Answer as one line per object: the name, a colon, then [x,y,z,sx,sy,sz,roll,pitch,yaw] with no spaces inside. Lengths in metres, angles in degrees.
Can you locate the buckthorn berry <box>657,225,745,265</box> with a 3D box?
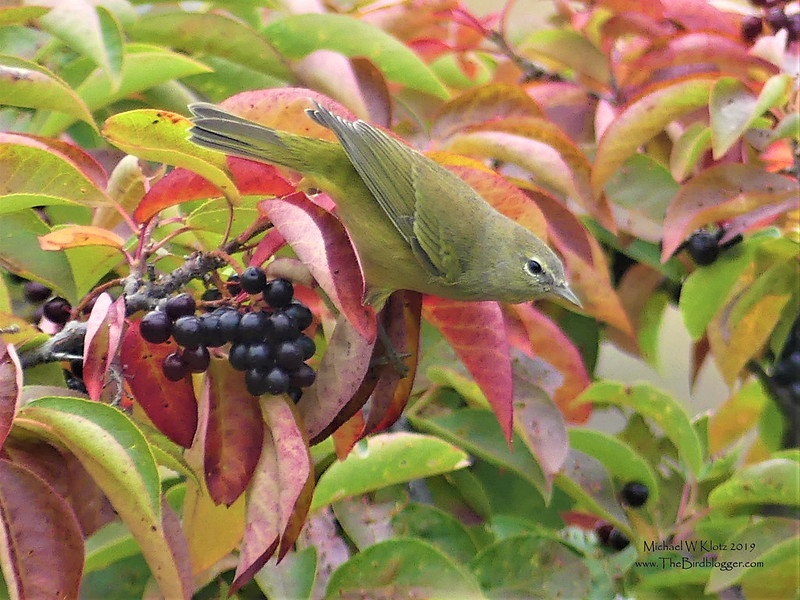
buckthorn berry: [0.412,-0.072,1.529,0.088,0.053,0.012,1,12,15]

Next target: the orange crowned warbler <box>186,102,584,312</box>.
orange crowned warbler: [-0.014,-0.108,1.313,0.434,0.240,0.089,-3,11,-11]

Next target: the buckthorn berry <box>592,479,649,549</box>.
buckthorn berry: [0.294,0.284,1.506,0.069,0.089,0.029,-3,11,-6]
